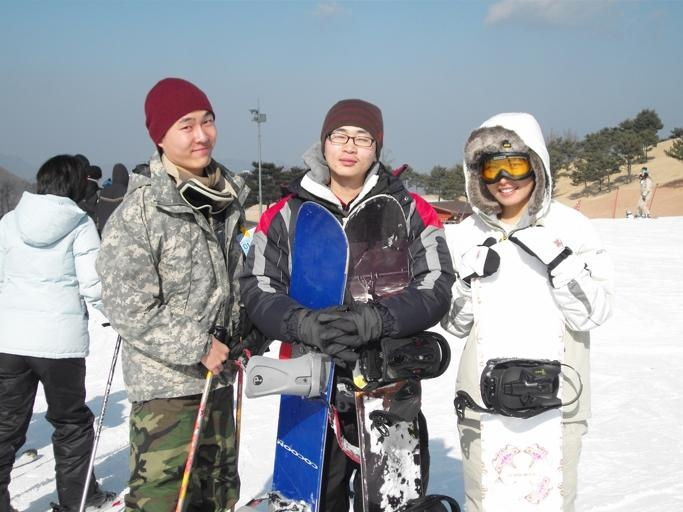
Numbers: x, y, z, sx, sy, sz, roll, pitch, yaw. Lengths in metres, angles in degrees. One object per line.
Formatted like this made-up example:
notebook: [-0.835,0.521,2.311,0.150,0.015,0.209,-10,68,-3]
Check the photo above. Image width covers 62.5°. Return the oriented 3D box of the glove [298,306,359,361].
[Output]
glove: [-0.071,0.446,3.108,0.341,0.262,0.149,0,10,5]

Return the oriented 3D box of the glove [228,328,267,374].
glove: [-0.589,0.590,3.528,0.258,0.167,0.102,-38,15,9]

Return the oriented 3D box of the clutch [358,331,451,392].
clutch: [0.347,0.610,3.231,0.570,0.309,0.144,-4,11,-16]

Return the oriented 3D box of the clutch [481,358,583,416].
clutch: [1.010,0.753,3.191,0.449,0.310,0.130,1,11,12]

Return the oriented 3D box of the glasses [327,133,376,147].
glasses: [0.053,-0.714,3.447,0.287,0.097,0.075,-1,10,0]

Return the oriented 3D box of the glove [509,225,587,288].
glove: [1.158,0.004,3.220,0.424,0.326,0.166,3,11,21]

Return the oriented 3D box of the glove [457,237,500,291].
glove: [0.792,0.033,3.269,0.247,0.226,0.082,-24,-23,32]

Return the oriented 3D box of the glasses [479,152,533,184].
glasses: [0.966,-0.532,3.340,0.238,0.137,0.188,-4,-11,14]
